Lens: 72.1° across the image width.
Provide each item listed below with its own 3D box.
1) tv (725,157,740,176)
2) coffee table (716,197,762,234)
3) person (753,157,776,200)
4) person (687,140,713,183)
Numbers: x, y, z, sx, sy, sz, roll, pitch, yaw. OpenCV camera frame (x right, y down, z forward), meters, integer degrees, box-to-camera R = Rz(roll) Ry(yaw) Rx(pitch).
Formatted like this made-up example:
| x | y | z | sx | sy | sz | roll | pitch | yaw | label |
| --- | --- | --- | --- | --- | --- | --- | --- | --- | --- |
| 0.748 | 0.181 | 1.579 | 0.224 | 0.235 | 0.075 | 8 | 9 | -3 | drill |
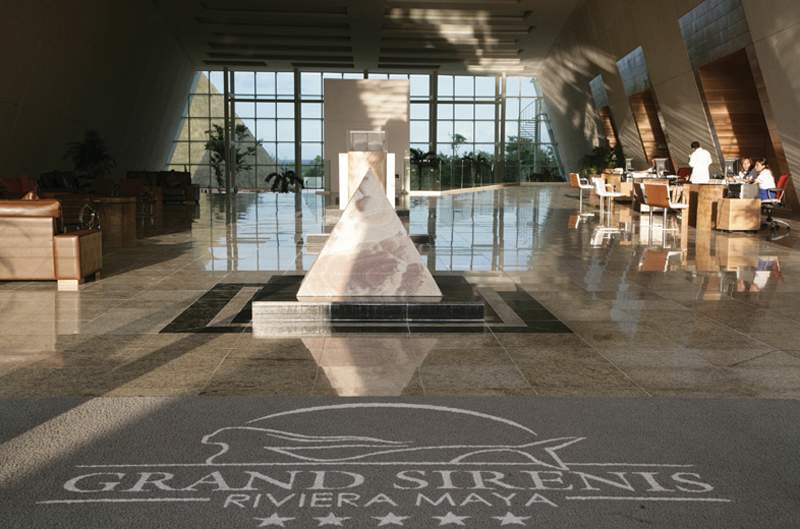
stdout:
| x | y | z | sx | sy | sz | roll | pitch | yaw | label |
| --- | --- | --- | --- | --- | --- | --- | --- | --- | --- |
| 6.884 | -2.013 | 11.407 | 0.245 | 0.325 | 1.584 | 7 | 13 | 30 | tv |
| 6.712 | -0.979 | 11.181 | 0.816 | 0.708 | 0.745 | 0 | 2 | -3 | coffee table |
| 7.746 | -1.807 | 11.676 | 0.448 | 0.821 | 1.229 | 7 | 14 | 32 | person |
| 7.172 | -2.449 | 13.144 | 0.444 | 0.926 | 0.795 | 6 | 13 | 27 | person |
